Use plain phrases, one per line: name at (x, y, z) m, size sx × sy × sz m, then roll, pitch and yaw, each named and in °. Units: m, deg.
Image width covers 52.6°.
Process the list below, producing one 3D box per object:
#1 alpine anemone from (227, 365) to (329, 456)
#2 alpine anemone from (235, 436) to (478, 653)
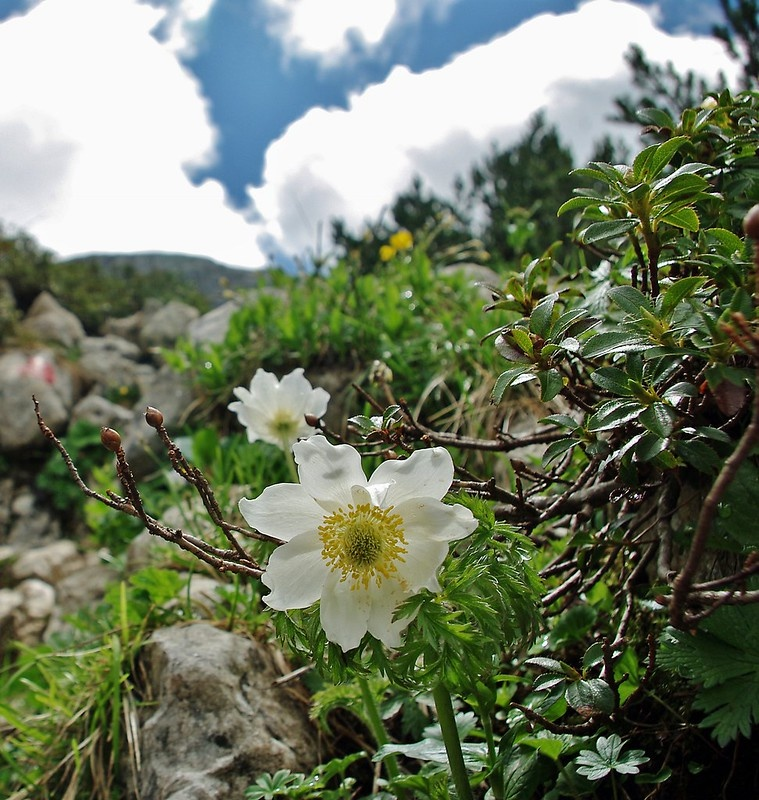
alpine anemone at (-0.312, 0.027, 2.517) m, size 0.311 × 0.280 × 0.129 m, roll -10°, pitch 14°, yaw 5°
alpine anemone at (-0.035, 0.292, 1.518) m, size 0.506 × 0.404 × 0.146 m, roll -18°, pitch 40°, yaw 18°
